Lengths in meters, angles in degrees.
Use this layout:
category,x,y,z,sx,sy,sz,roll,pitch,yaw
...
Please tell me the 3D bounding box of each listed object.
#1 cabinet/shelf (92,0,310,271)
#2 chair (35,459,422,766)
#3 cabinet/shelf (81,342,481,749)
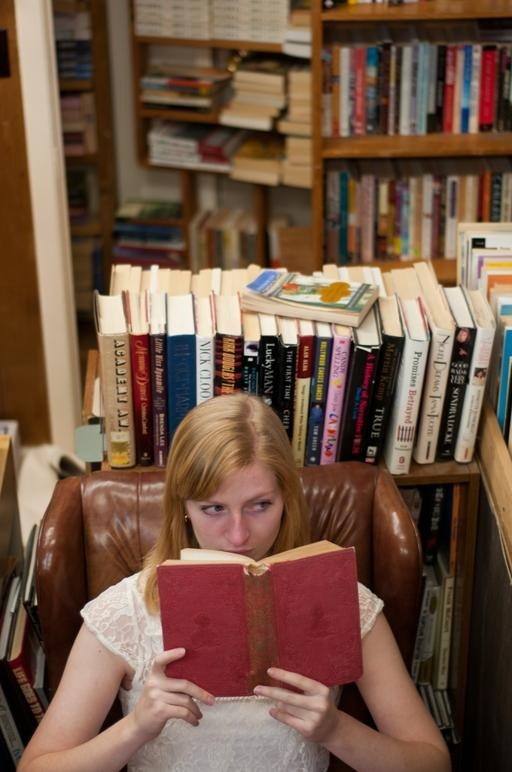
category,x,y,z,sx,sy,sz,roll,pitch,yaw
cabinet/shelf,-0.226,-1.177,2.750,1.082,1.126,0.267,3,17,6
chair,-0.040,0.259,1.156,0.587,0.593,0.445,-1,15,-3
cabinet/shelf,0.105,0.359,1.319,0.796,0.812,0.623,0,14,-2
